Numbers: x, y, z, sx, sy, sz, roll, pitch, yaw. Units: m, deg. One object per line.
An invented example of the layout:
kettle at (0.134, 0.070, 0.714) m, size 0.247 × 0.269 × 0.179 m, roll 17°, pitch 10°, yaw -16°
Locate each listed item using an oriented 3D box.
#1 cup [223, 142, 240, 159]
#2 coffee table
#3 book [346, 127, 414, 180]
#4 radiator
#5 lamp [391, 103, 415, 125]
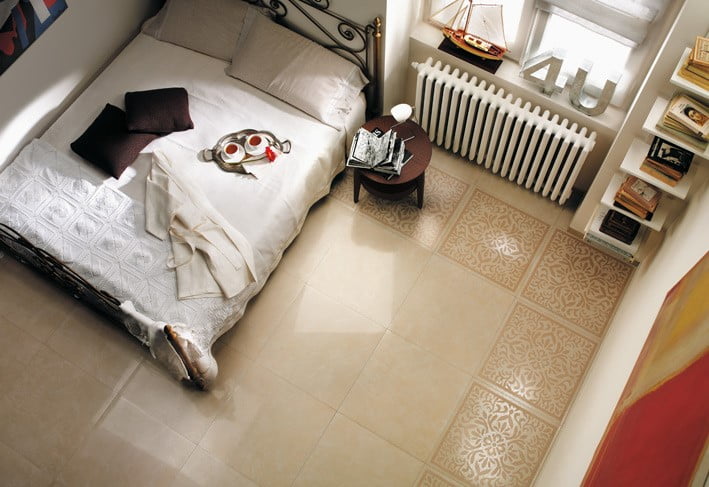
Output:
cup at (-1.028, -0.773, 4.317) m, size 0.099 × 0.084 × 0.109 m, roll 0°, pitch 87°, yaw -2°
coffee table at (0.279, -0.683, 4.560) m, size 0.698 × 0.579 × 0.644 m, roll 40°, pitch 44°, yaw 19°
book at (0.203, -0.774, 4.340) m, size 0.442 × 0.239 × 0.378 m, roll 16°, pitch 48°, yaw 4°
radiator at (1.291, -0.959, 4.403) m, size 1.442 × 0.960 × 0.211 m, roll 27°, pitch 61°, yaw 15°
lamp at (0.389, -1.078, 4.388) m, size 0.210 × 0.171 × 0.160 m, roll -15°, pitch 10°, yaw 0°
